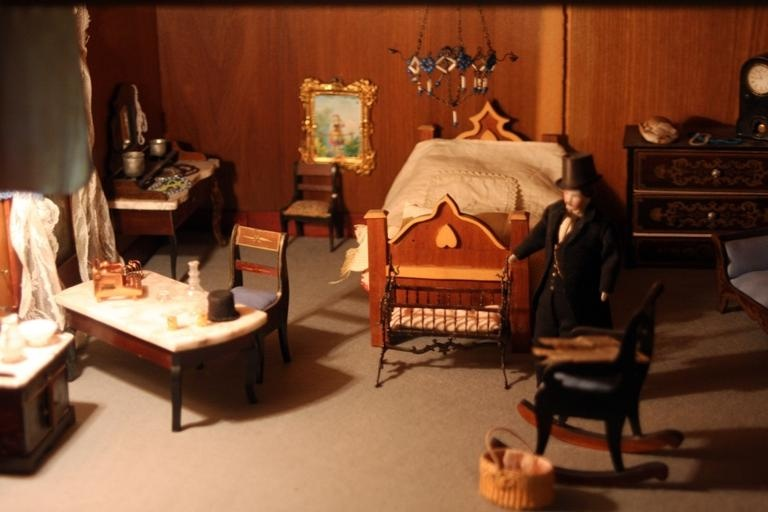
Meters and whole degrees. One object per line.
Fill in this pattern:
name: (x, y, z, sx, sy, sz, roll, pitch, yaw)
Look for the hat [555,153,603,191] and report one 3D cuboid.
hat: (1.215, -0.528, 3.886, 0.250, 0.149, 0.248, 5, 26, 40)
